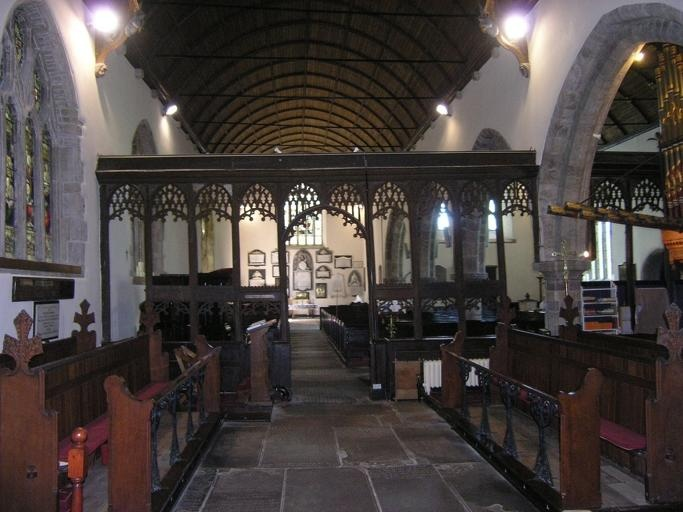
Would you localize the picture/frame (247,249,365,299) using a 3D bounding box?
[{"bbox_3d":[-1.345,0.857,26.259,4.671,2.417,0.889,0,2,-6],"label":"picture/frame"}]
